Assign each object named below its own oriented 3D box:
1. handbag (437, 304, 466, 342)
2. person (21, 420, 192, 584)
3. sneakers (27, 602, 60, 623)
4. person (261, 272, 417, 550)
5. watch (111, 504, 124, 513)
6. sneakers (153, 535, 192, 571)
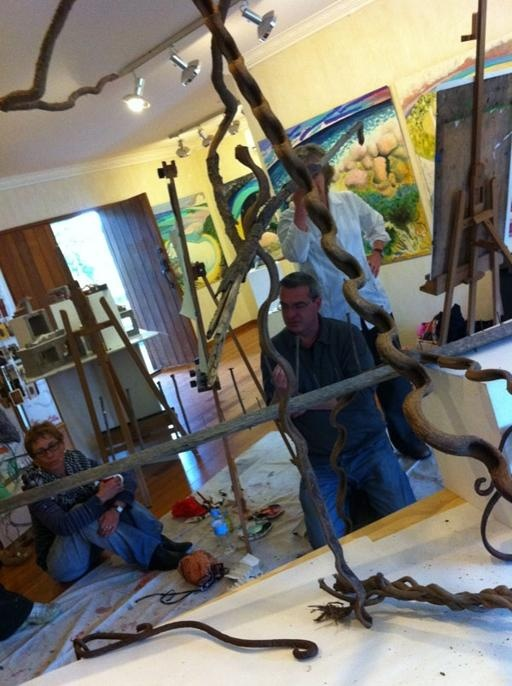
[{"bbox_3d":[1.321,-0.149,3.413,0.114,0.160,0.327,-15,8,38],"label":"handbag"},{"bbox_3d":[-0.822,0.791,2.651,0.838,0.812,0.485,-10,12,24],"label":"person"},{"bbox_3d":[-0.976,1.236,2.368,0.127,0.051,0.066,-8,12,2],"label":"sneakers"},{"bbox_3d":[0.254,0.267,1.937,0.490,0.871,0.589,-20,8,11],"label":"person"},{"bbox_3d":[-0.685,0.815,2.554,0.056,0.056,0.040,0,3,26],"label":"watch"},{"bbox_3d":[-0.408,1.014,2.543,0.083,0.142,0.225,7,12,32],"label":"sneakers"}]
